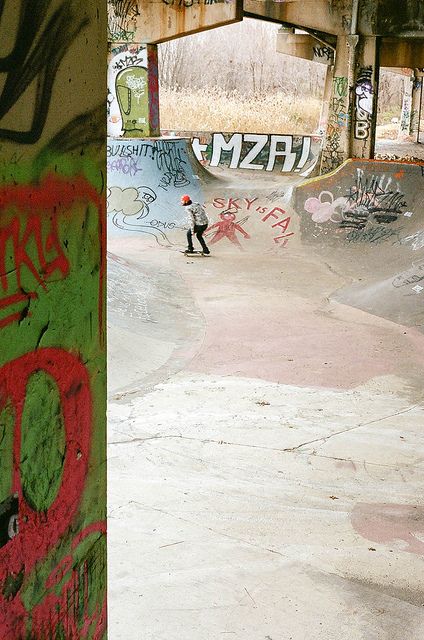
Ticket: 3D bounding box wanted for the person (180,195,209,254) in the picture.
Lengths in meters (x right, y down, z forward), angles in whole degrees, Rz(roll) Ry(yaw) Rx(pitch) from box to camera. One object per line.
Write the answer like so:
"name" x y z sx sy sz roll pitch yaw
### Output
"person" -0.422 -2.524 15.755 0.814 1.469 1.741 5 9 -1
